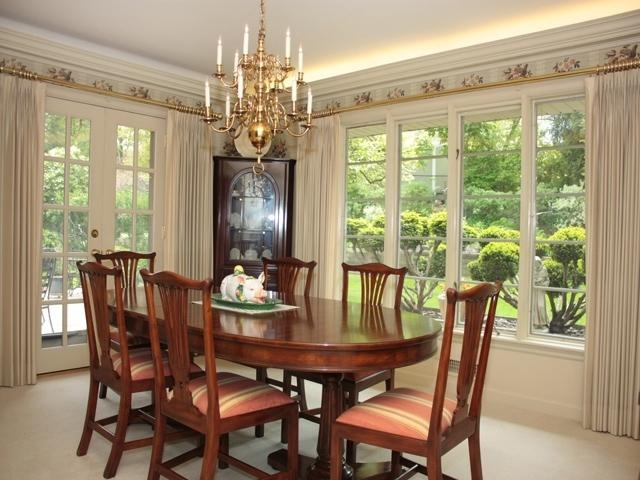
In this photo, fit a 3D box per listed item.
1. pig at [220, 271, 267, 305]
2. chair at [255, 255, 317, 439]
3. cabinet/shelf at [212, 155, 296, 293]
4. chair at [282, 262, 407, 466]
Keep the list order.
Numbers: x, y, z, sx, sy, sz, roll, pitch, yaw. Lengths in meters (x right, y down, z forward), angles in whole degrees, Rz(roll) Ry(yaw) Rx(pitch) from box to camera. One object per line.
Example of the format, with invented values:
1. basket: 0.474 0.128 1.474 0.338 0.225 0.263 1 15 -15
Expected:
1. pig: -0.511 0.331 3.441 0.255 0.223 0.230 4 1 33
2. chair: -0.348 0.804 4.114 0.659 1.411 0.666 6 -6 -5
3. cabinet/shelf: -0.759 -0.185 5.658 1.012 1.374 0.523 3 2 -24
4. chair: 0.158 0.852 3.773 0.815 1.423 0.795 7 3 34
